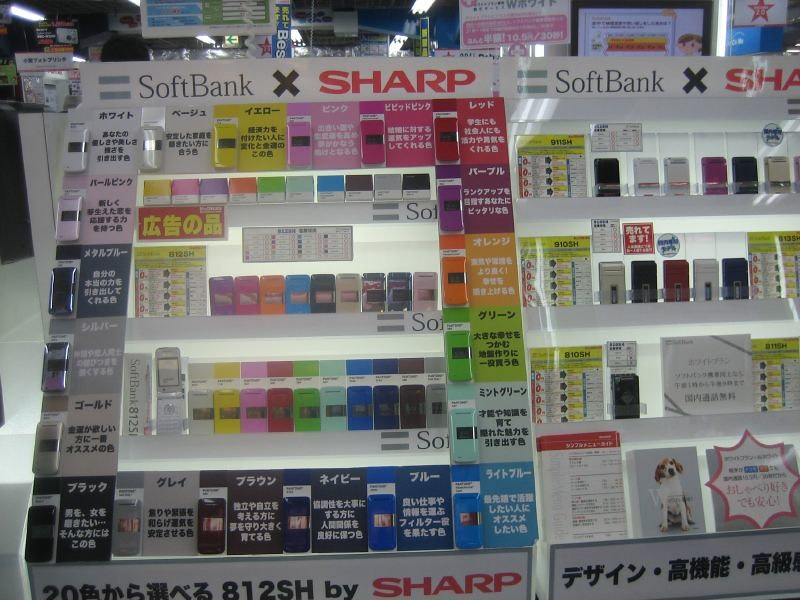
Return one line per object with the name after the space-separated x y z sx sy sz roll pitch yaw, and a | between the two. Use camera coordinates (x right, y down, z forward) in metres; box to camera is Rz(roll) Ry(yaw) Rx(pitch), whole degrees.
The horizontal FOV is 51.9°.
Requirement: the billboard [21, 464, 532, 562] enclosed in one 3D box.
-0.488 0.978 3.962 2.499 0.417 0.194 -1 -6 1 | billboard
